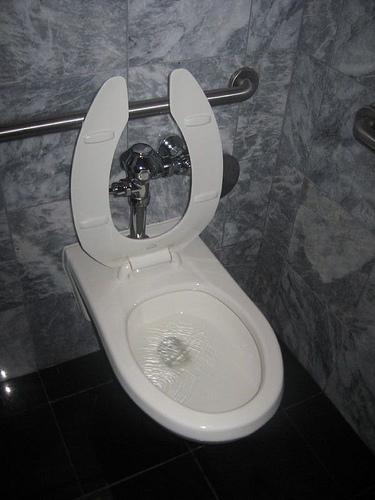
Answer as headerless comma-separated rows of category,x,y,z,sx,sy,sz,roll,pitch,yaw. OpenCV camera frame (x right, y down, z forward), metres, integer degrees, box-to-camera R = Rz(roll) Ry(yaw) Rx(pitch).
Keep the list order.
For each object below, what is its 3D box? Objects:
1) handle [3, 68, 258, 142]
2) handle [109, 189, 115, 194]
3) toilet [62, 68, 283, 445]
handle,-0.122,-0.276,0.720,0.600,0.033,0.086,-15,19,-23
handle,-0.149,-0.116,0.754,0.003,0.008,0.014,14,16,42
toilet,-0.027,-0.024,0.772,0.374,0.616,0.537,-10,28,-23
